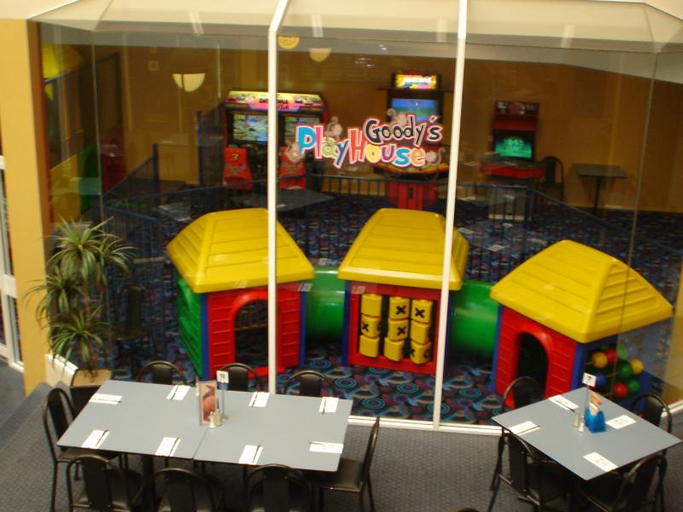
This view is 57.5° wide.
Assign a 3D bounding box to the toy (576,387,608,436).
[{"bbox_3d":[2.448,1.543,6.097,0.282,0.427,0.388,-6,7,-35],"label":"toy"}]

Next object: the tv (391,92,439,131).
[{"bbox_3d":[0.767,-1.399,6.331,0.555,0.362,0.294,2,18,2],"label":"tv"}]

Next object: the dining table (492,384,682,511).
[{"bbox_3d":[2.269,1.665,6.056,1.370,0.814,1.335,-20,35,-28],"label":"dining table"}]

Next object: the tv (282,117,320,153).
[{"bbox_3d":[-0.414,-1.296,6.504,0.358,0.420,0.049,5,9,8],"label":"tv"}]

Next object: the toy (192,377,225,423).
[{"bbox_3d":[-1.226,1.361,5.874,0.278,0.459,0.157,-15,22,-42],"label":"toy"}]

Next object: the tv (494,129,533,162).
[{"bbox_3d":[1.701,-1.094,6.144,0.490,0.331,0.264,3,12,14],"label":"tv"}]
